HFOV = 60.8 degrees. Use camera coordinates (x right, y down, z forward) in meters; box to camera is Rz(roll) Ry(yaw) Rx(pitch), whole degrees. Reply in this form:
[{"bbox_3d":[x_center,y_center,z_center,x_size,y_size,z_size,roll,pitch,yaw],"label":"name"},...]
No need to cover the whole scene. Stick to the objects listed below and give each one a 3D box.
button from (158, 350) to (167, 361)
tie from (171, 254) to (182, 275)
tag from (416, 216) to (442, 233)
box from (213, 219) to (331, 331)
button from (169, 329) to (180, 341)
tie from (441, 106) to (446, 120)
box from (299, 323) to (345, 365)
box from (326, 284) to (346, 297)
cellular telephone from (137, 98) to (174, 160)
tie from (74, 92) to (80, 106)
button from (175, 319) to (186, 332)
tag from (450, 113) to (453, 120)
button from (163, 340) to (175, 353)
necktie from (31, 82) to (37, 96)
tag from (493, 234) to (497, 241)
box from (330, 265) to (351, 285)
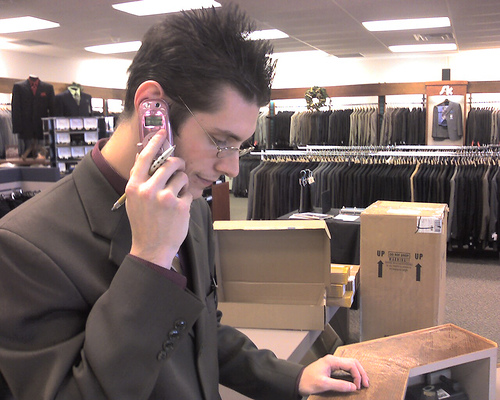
[{"bbox_3d":[-0.188,0.337,0.923,0.019,0.023,0.003,-3,6,-26],"label":"button"},{"bbox_3d":[-0.198,0.175,1.170,0.025,0.038,0.038,5,-22,-4],"label":"tie"},{"bbox_3d":[1.065,0.150,2.536,0.135,0.097,0.023,1,5,14],"label":"tag"},{"bbox_3d":[0.162,0.312,1.904,0.402,0.436,0.258,2,2,12],"label":"box"},{"bbox_3d":[-0.165,0.295,0.933,0.020,0.022,0.012,-34,11,-28],"label":"button"},{"bbox_3d":[3.178,-1.388,6.969,0.038,0.163,0.103,4,4,6],"label":"tie"},{"bbox_3d":[0.499,0.962,2.855,0.121,0.237,0.613,3,8,29],"label":"box"},{"bbox_3d":[0.430,0.443,2.086,0.070,0.064,0.035,0,-4,23],"label":"box"},{"bbox_3d":[-0.228,-0.171,1.024,0.085,0.147,0.093,-1,6,-7],"label":"cellular telephone"},{"bbox_3d":[-3.328,-1.956,8.238,0.030,0.157,0.113,-17,17,-5],"label":"tie"},{"bbox_3d":[-0.152,0.278,0.941,0.023,0.026,0.003,-3,6,-23],"label":"button"},{"bbox_3d":[3.269,-1.325,6.903,0.050,0.063,0.105,1,18,7],"label":"tag"},{"bbox_3d":[-0.175,0.317,0.925,0.021,0.026,0.008,2,1,-31],"label":"button"},{"bbox_3d":[-4.217,-2.157,8.333,0.107,0.245,0.020,0,5,-1],"label":"necktie"},{"bbox_3d":[3.290,0.497,5.692,0.038,0.063,0.015,-2,5,-41],"label":"tag"},{"bbox_3d":[0.459,0.374,2.161,0.095,0.040,0.098,-1,5,17],"label":"box"}]
